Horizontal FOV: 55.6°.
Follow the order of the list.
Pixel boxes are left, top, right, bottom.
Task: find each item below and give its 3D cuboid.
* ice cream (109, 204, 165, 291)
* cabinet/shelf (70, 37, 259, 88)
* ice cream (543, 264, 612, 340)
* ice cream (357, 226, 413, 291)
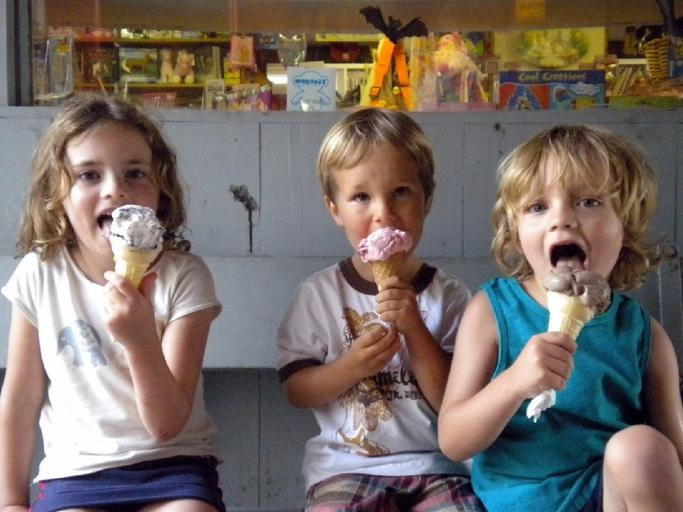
[{"bbox_3d":[-0.587,0.004,1.839,0.149,0.286,0.134,-1,33,-30],"label":"ice cream"},{"bbox_3d":[-0.787,-0.813,2.733,0.624,0.219,0.208,-2,8,-3],"label":"cabinet/shelf"},{"bbox_3d":[0.609,0.115,1.677,0.123,0.193,0.109,28,-11,28],"label":"ice cream"},{"bbox_3d":[0.134,0.025,1.957,0.173,0.201,0.133,-1,-7,3],"label":"ice cream"}]
